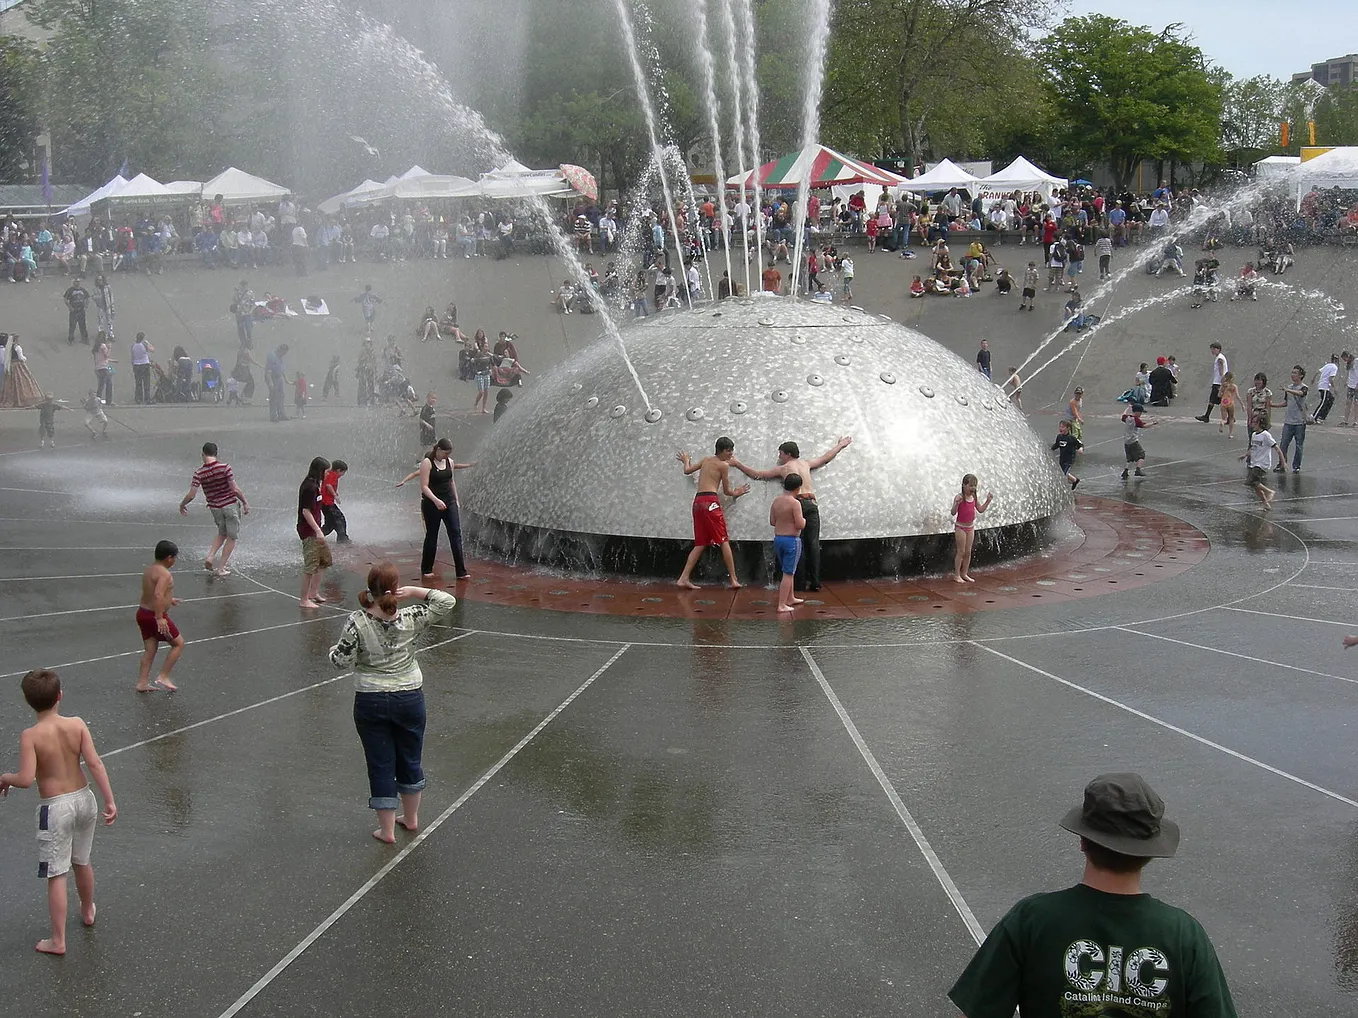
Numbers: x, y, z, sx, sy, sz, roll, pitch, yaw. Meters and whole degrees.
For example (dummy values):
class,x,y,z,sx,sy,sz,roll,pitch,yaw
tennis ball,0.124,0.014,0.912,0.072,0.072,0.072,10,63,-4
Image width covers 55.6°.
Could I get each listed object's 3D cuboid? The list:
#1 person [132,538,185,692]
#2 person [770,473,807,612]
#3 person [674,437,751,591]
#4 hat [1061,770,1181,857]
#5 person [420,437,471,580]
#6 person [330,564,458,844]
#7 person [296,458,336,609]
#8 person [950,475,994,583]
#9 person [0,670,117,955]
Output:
class,x,y,z,sx,sy,sz,roll,pitch,yaw
person,-5.498,1.190,13.664,0.589,1.714,0.735,-13,31,-42
person,1.341,0.374,15.670,0.425,1.608,1.075,0,8,5
person,0.451,0.060,16.376,0.862,1.907,0.795,-1,8,2
hat,1.955,1.363,5.719,0.485,0.332,0.300,1,8,17
person,-3.100,-0.010,17.002,0.612,1.856,0.895,-3,8,-12
person,-2.178,1.445,9.859,0.809,2.088,0.793,-3,8,-12
person,-4.505,0.274,15.938,0.381,1.755,1.180,-3,8,-16
person,3.826,0.225,16.910,0.420,1.392,1.013,2,8,19
person,-4.072,1.961,8.501,0.634,1.807,0.547,-6,9,-29
